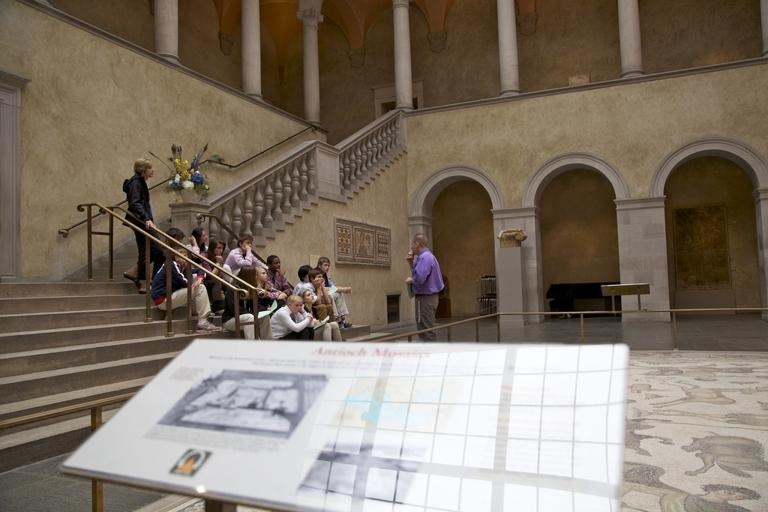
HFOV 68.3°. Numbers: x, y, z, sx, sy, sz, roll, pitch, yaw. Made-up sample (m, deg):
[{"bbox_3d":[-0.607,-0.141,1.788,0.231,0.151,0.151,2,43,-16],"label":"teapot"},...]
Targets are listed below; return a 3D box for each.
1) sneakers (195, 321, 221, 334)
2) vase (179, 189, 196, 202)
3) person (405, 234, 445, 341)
[{"bbox_3d":[-2.320,0.964,7.526,0.331,0.145,0.131,3,1,-7],"label":"sneakers"},{"bbox_3d":[-2.902,-0.892,8.382,0.181,0.147,0.190,8,17,34],"label":"vase"},{"bbox_3d":[0.594,0.370,8.010,0.488,1.346,0.498,0,-5,4],"label":"person"}]
